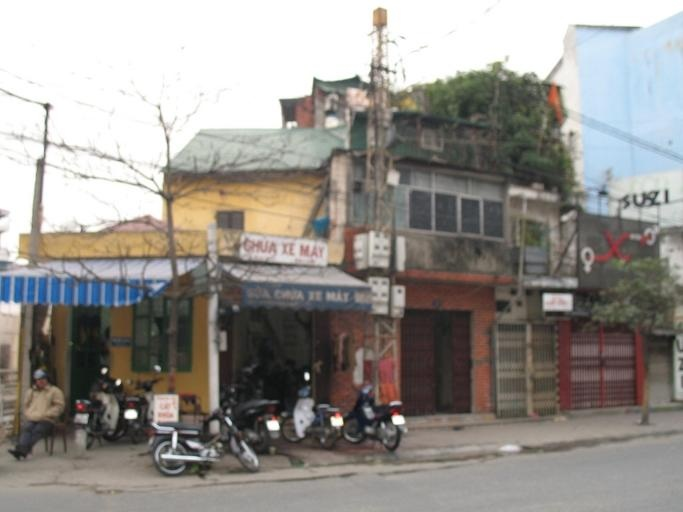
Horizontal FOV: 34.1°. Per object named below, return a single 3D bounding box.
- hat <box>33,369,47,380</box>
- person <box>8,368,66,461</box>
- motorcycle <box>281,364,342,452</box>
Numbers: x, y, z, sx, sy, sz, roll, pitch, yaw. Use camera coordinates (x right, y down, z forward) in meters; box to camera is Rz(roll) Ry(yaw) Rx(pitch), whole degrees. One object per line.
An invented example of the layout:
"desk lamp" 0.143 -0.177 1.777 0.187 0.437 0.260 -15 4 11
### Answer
"hat" -7.468 2.941 27.650 0.286 0.296 0.338 -1 3 -8
"person" -7.390 3.862 27.274 0.969 1.967 1.380 3 9 19
"motorcycle" -0.643 4.210 29.078 2.023 1.461 1.201 -2 -6 37
